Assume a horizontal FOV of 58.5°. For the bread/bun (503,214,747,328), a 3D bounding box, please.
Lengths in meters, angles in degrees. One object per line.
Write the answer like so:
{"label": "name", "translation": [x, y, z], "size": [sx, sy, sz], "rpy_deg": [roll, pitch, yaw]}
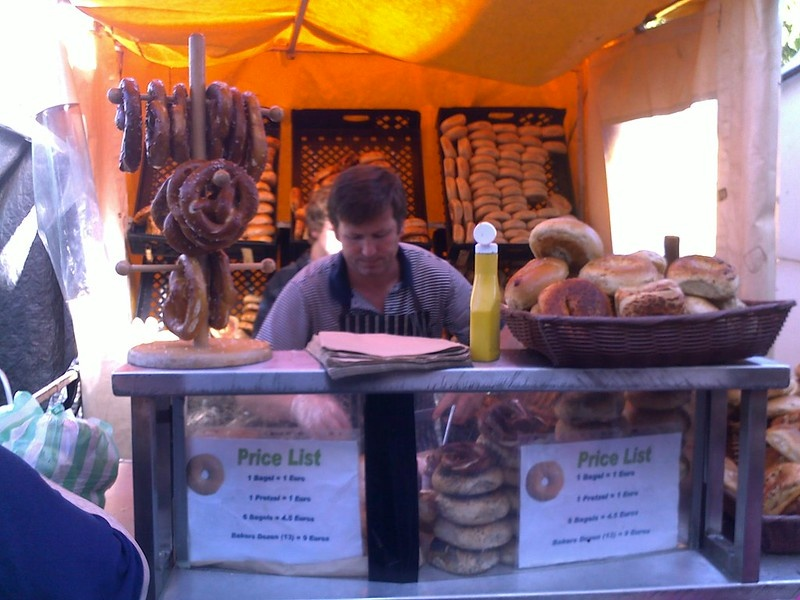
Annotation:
{"label": "bread/bun", "translation": [0.723, -0.107, 2.440], "size": [0.618, 0.399, 0.519], "rpy_deg": [0, 7, -11]}

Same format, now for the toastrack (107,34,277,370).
{"label": "toastrack", "translation": [-0.642, -0.303, 2.275], "size": [0.270, 1.264, 0.418], "rpy_deg": [8, 12, 44]}

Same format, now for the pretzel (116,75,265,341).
{"label": "pretzel", "translation": [-0.661, -0.336, 2.408], "size": [0.429, 0.908, 0.427], "rpy_deg": [-1, 6, -3]}
